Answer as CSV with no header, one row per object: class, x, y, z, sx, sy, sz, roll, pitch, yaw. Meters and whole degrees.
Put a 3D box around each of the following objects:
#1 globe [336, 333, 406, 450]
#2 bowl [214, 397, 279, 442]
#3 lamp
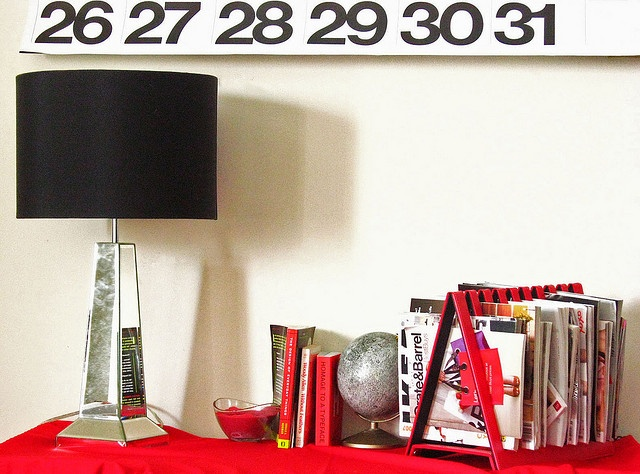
globe,0.150,0.436,1.578,0.219,0.316,0.222,3,-7,-3
bowl,-0.213,0.527,1.595,0.147,0.085,0.133,1,-9,1
lamp,-0.568,0.059,1.503,0.550,1.018,0.238,1,-4,-6
